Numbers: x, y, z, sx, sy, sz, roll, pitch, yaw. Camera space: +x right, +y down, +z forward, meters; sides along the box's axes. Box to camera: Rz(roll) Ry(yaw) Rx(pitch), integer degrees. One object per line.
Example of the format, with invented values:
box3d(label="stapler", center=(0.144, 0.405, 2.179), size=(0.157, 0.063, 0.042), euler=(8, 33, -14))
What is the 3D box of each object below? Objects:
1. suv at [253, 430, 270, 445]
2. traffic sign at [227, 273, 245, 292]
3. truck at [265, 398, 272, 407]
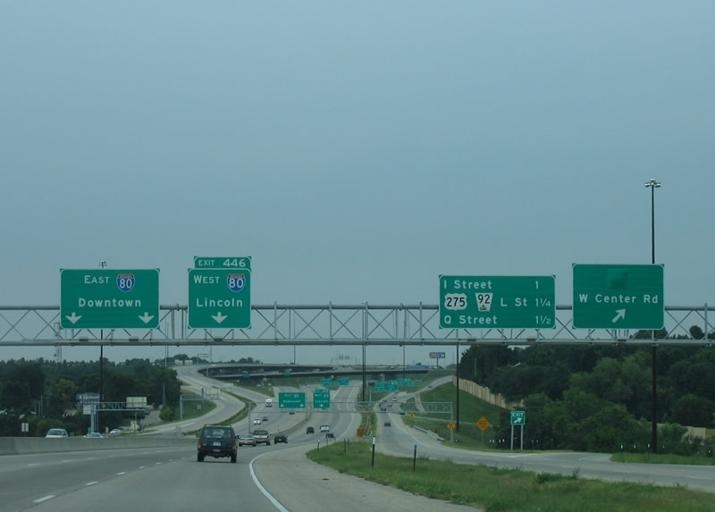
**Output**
box3d(label="suv", center=(-15.536, 29.584, 261.637), size=(2.190, 2.557, 4.296), euler=(-3, -8, 12))
box3d(label="traffic sign", center=(-16.482, 3.512, 219.681), size=(1.900, 2.881, 0.400), euler=(1, -9, -3))
box3d(label="truck", center=(-18.536, 30.845, 338.350), size=(1.028, 2.094, 0.551), euler=(-4, -32, 2))
